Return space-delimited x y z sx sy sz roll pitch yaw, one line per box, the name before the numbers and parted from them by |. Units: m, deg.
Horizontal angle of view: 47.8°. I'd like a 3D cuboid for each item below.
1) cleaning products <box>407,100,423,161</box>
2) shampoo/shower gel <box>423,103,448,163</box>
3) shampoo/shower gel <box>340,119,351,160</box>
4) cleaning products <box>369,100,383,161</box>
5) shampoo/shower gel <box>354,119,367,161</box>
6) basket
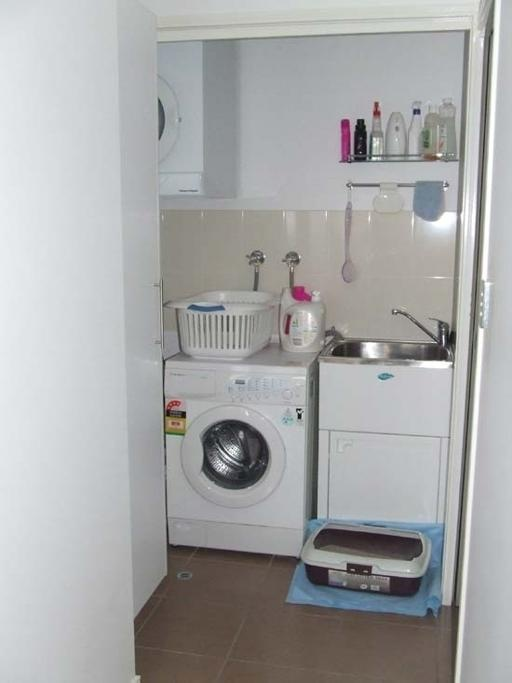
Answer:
cleaning products | 0.770 -1.026 2.795 0.071 0.283 0.188 1 6 15
shampoo/shower gel | 0.861 -1.001 2.774 0.108 0.269 0.141 1 6 17
shampoo/shower gel | 0.450 -1.013 2.897 0.052 0.219 0.121 1 6 8
cleaning products | 0.593 -1.038 2.834 0.072 0.295 0.169 1 6 12
shampoo/shower gel | 0.514 -0.998 2.854 0.067 0.208 0.171 1 6 10
basket | -0.157 -0.103 2.802 0.420 0.397 0.444 6 13 15
